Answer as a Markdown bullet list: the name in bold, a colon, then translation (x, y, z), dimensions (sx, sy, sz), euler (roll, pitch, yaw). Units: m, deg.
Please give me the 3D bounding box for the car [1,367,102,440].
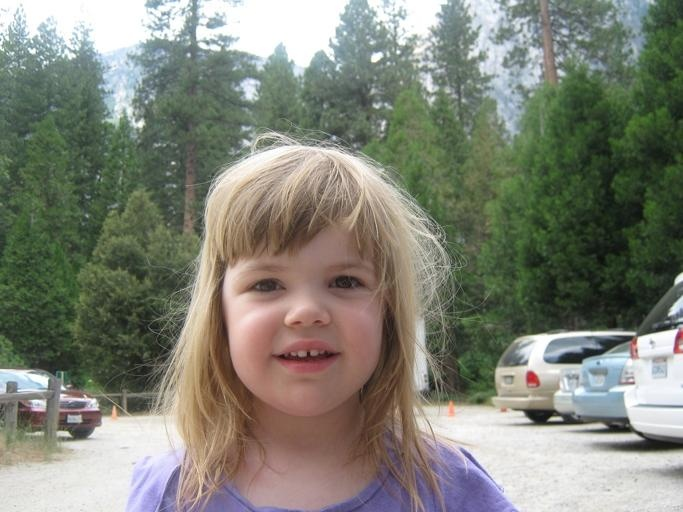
- **car**: translation (-5.959, 3.001, 14.854), dimensions (1.609, 1.409, 2.910), euler (-2, -6, 5)
